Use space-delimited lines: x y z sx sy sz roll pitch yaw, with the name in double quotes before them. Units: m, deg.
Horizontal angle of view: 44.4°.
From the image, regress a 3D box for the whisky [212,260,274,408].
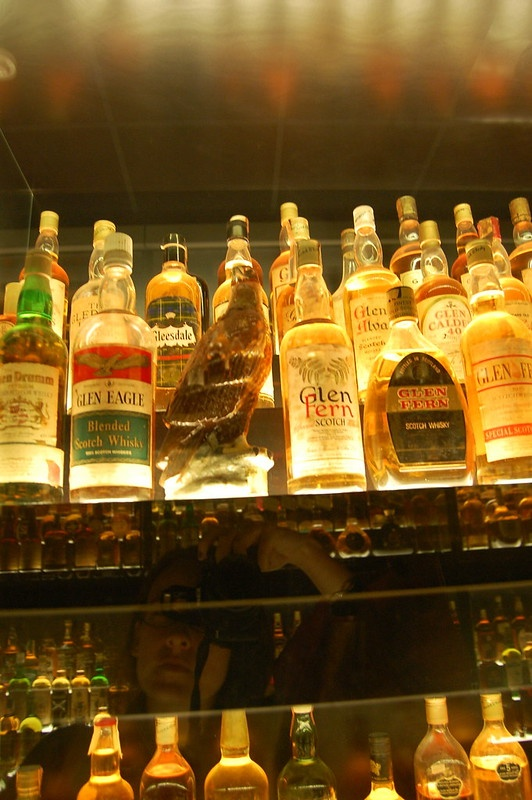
"whisky" -0.040 -0.110 0.957 0.068 0.265 0.068 -14 -5 -6
